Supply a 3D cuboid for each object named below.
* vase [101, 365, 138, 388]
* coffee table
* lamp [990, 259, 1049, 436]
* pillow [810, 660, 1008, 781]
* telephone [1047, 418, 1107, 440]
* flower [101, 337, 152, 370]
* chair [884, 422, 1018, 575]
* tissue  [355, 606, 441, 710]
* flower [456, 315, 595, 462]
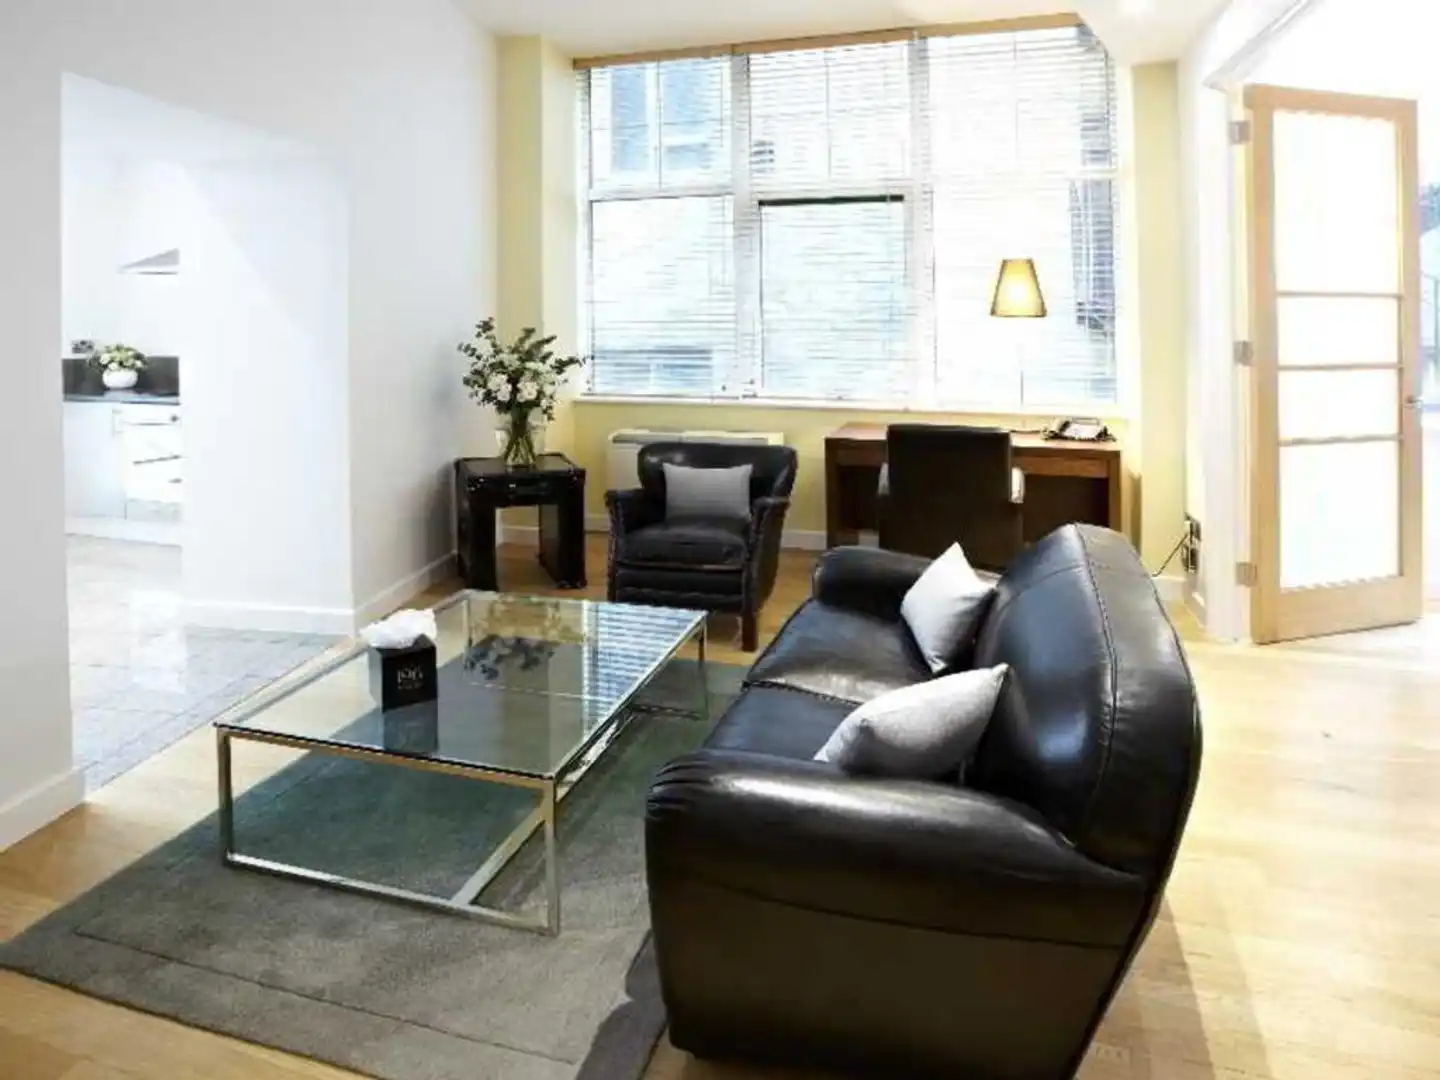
[{"bbox_3d":[-3.901,-1.055,7.014,0.153,0.107,0.156,0,1,-9],"label":"vase"},{"bbox_3d":[-0.804,0.500,3.476,0.927,0.405,1.405,7,14,14],"label":"coffee table"},{"bbox_3d":[1.674,-1.133,6.018,0.268,0.900,0.565,1,11,17],"label":"lamp"},{"bbox_3d":[0.504,0.451,2.624,0.347,0.236,0.436,-32,-24,34],"label":"pillow"},{"bbox_3d":[1.881,-0.585,5.682,0.300,0.097,0.217,1,11,17],"label":"telephone"},{"bbox_3d":[-3.924,-1.216,7.088,0.203,0.109,0.208,15,12,28],"label":"flower"},{"bbox_3d":[1.157,-0.352,5.370,0.715,0.800,0.610,5,39,18],"label":"chair"},{"bbox_3d":[-1.034,0.354,3.514,0.330,0.395,0.260,-3,1,-29],"label":"tissue "},{"bbox_3d":[-1.172,-0.876,6.124,0.556,0.801,1.003,-4,10,-13],"label":"flower"}]
